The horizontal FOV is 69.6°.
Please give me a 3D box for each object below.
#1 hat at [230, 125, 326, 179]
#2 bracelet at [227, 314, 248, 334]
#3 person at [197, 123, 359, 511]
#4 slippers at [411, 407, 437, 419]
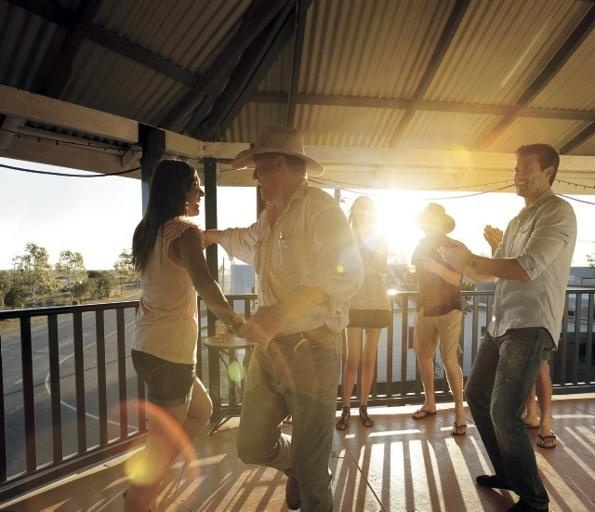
[{"bbox_3d":[-0.079,-0.659,2.532,0.494,0.250,0.458,13,17,4],"label":"hat"},{"bbox_3d":[-0.321,0.354,2.251,0.074,0.042,0.108,-39,15,-3],"label":"bracelet"},{"bbox_3d":[-0.026,0.363,2.533,0.683,2.190,0.739,-1,-2,-10],"label":"person"},{"bbox_3d":[1.282,1.552,4.314,0.180,0.055,0.112,2,-5,-15],"label":"slippers"}]
